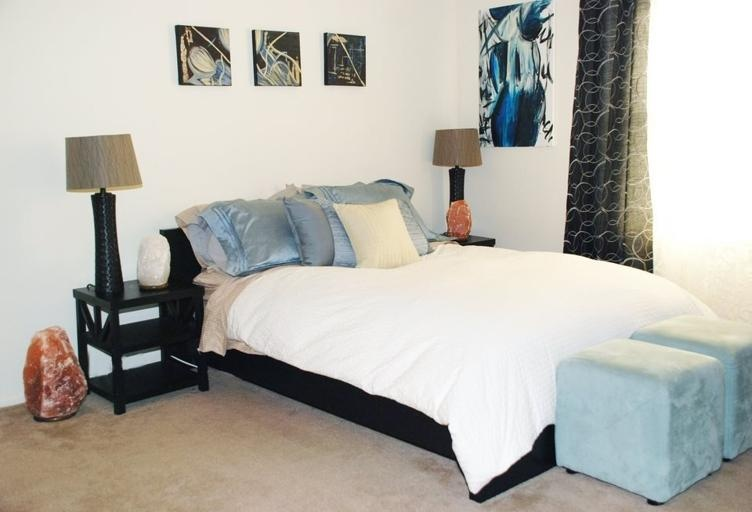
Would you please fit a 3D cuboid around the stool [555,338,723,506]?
[{"bbox_3d":[1.275,0.699,2.883,0.687,0.636,0.692,5,8,44],"label":"stool"}]

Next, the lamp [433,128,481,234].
[{"bbox_3d":[0.751,-0.685,5.300,0.456,0.965,0.775,-1,13,10],"label":"lamp"}]

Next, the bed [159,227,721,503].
[{"bbox_3d":[0.046,0.334,3.472,2.035,0.937,1.071,13,20,39],"label":"bed"}]

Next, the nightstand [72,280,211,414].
[{"bbox_3d":[-1.610,0.574,3.931,0.525,0.748,0.692,9,11,36],"label":"nightstand"}]

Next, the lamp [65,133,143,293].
[{"bbox_3d":[-1.790,-0.262,3.713,0.435,1.012,0.338,1,13,19],"label":"lamp"}]
